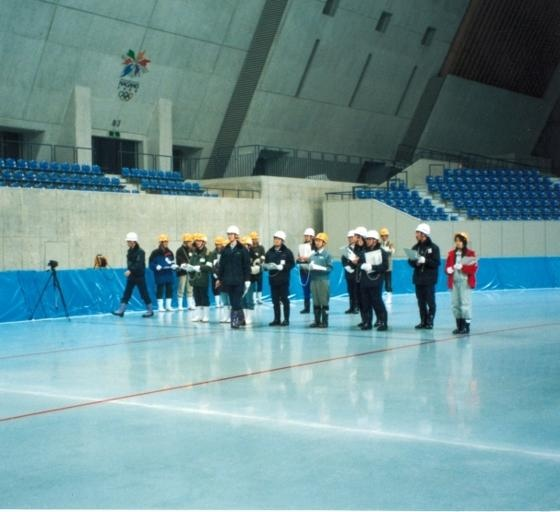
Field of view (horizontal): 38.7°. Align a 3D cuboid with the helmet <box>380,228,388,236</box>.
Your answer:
[{"bbox_3d":[2.640,-0.609,20.131,0.301,0.188,0.432,0,1,4],"label":"helmet"}]

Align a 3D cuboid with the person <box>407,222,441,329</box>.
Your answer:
[{"bbox_3d":[2.669,0.401,14.715,0.548,1.981,1.354,0,3,11],"label":"person"}]

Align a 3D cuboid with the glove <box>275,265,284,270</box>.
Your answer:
[{"bbox_3d":[-0.010,0.221,15.475,0.080,0.117,0.054,-5,-7,-14],"label":"glove"}]

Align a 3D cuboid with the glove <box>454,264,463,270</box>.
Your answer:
[{"bbox_3d":[3.147,0.181,14.087,0.111,0.118,0.124,0,3,1],"label":"glove"}]

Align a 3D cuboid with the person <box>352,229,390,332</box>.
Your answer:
[{"bbox_3d":[1.703,0.460,14.778,0.585,1.843,1.029,0,3,5],"label":"person"}]

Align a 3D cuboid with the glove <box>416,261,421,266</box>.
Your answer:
[{"bbox_3d":[2.515,0.130,14.474,0.063,0.068,0.062,-4,5,-36],"label":"glove"}]

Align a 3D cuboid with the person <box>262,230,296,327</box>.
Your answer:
[{"bbox_3d":[-0.025,0.457,15.839,0.590,1.841,0.802,0,3,-4],"label":"person"}]

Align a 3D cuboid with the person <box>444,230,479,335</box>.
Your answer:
[{"bbox_3d":[3.256,0.494,14.238,0.591,1.773,0.449,2,4,38],"label":"person"}]

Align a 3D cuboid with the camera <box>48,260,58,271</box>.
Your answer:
[{"bbox_3d":[-5.300,0.206,18.621,0.213,0.277,0.276,-1,-1,20],"label":"camera"}]

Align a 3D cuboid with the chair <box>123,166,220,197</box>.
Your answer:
[{"bbox_3d":[-4.447,-2.844,30.519,1.607,0.927,3.304,3,4,40],"label":"chair"}]

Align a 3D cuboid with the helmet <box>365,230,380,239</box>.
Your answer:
[{"bbox_3d":[1.767,-0.434,14.830,0.263,0.151,0.191,12,-9,-37],"label":"helmet"}]

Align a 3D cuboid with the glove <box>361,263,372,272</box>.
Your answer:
[{"bbox_3d":[1.553,0.201,14.336,0.160,0.130,0.075,6,-5,-21],"label":"glove"}]

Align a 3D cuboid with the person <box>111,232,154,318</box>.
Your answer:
[{"bbox_3d":[-3.333,0.438,18.255,0.874,1.900,1.373,-1,3,-12],"label":"person"}]

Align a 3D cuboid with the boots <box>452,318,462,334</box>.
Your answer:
[{"bbox_3d":[3.176,1.272,14.417,0.183,0.341,0.235,-2,-7,45],"label":"boots"}]

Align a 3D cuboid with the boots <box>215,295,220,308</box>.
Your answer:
[{"bbox_3d":[-1.570,1.160,20.235,0.185,0.390,0.333,0,-4,-5],"label":"boots"}]

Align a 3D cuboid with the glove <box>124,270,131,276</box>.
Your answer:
[{"bbox_3d":[-3.383,0.384,17.864,0.116,0.126,0.037,3,-2,25],"label":"glove"}]

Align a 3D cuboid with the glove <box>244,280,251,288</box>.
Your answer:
[{"bbox_3d":[-0.613,0.542,15.304,0.076,0.142,0.134,-4,-21,1],"label":"glove"}]

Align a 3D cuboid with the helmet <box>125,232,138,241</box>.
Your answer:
[{"bbox_3d":[-3.812,-0.508,20.422,0.363,0.189,0.400,-2,7,-21],"label":"helmet"}]

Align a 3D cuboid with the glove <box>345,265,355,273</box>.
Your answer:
[{"bbox_3d":[1.369,0.256,15.567,0.137,0.099,0.177,6,-7,-29],"label":"glove"}]

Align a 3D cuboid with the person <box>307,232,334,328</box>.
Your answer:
[{"bbox_3d":[0.792,0.486,15.475,0.430,1.815,0.809,0,3,2],"label":"person"}]

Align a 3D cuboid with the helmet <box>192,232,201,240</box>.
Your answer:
[{"bbox_3d":[-1.872,-0.464,17.977,0.198,0.224,0.279,0,-8,-8],"label":"helmet"}]

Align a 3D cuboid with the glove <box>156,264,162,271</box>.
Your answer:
[{"bbox_3d":[-2.886,0.262,19.018,0.100,0.142,0.041,-1,-4,1],"label":"glove"}]

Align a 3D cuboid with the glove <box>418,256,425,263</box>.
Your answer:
[{"bbox_3d":[2.563,0.060,14.364,0.082,0.104,0.131,3,-2,2],"label":"glove"}]
